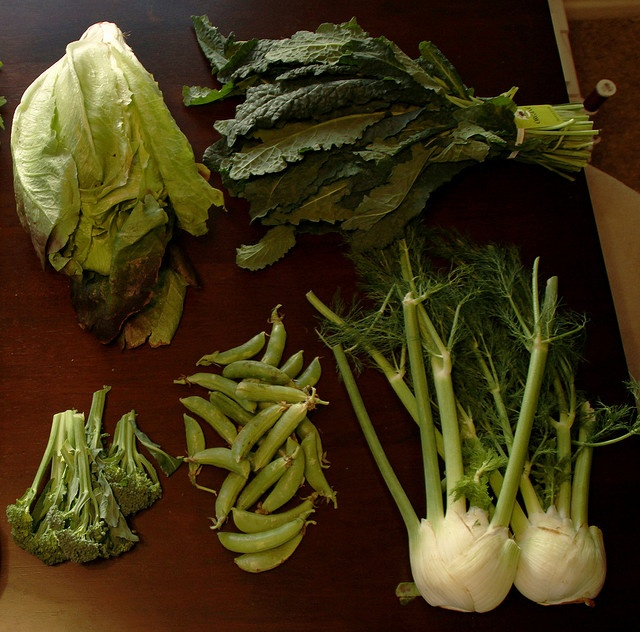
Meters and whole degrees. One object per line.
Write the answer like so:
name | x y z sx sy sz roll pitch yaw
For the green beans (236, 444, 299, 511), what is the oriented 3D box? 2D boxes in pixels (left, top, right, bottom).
green beans | -0.131 0.398 1.661 0.231 0.059 0.065 -36 7 0

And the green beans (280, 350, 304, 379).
green beans | -0.065 0.129 1.768 0.036 0.030 0.098 3 31 24

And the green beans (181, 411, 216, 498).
green beans | -0.299 0.356 1.713 0.079 0.193 0.046 -13 -19 -7

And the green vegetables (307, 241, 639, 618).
green vegetables | 0.435 0.248 1.712 0.755 0.877 0.643 -14 22 -1

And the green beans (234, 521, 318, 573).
green beans | -0.097 0.571 1.643 0.257 0.053 0.075 -36 44 27

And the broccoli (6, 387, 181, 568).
broccoli | -0.556 0.393 1.627 0.453 0.362 0.161 0 -20 -4

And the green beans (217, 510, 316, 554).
green beans | -0.132 0.537 1.639 0.225 0.058 0.052 -10 21 -2

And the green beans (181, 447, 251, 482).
green beans | -0.246 0.367 1.671 0.198 0.038 0.056 8 25 10

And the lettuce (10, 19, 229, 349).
lettuce | -0.520 -0.311 1.871 0.696 0.752 0.379 2 -6 -5

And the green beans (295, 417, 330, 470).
green beans | -0.028 0.319 1.690 0.103 0.122 0.044 -16 -1 -10

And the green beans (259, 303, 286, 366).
green beans | -0.112 0.052 1.787 0.060 0.149 0.039 2 -13 29

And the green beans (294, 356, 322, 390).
green beans | -0.015 0.148 1.783 0.049 0.029 0.116 11 42 30

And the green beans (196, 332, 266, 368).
green beans | -0.216 0.101 1.813 0.226 0.038 0.065 -14 44 -1

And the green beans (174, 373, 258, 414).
green beans | -0.264 0.188 1.759 0.270 0.050 0.066 16 49 9

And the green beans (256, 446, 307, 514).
green beans | -0.116 0.431 1.702 0.102 0.037 0.162 -2 30 -12
